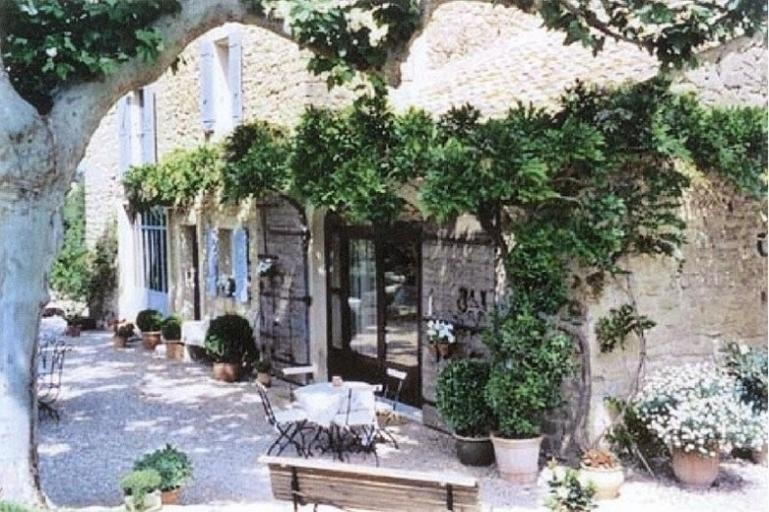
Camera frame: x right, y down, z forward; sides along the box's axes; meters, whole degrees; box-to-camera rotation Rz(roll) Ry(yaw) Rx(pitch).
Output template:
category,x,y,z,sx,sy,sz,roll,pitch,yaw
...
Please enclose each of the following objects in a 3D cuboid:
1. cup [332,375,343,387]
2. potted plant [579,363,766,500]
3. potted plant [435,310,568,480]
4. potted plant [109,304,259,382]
category,x,y,z,sx,sy,sz,roll,pitch,yaw
cup,-0.620,1.735,11.620,0.148,0.135,0.148,-1,6,0
potted plant,3.770,2.017,11.156,1.760,1.373,1.787,-1,-2,-12
potted plant,1.595,1.843,10.919,1.966,2.529,1.424,0,4,14
potted plant,-3.802,1.655,16.115,3.266,1.248,1.166,1,5,42
